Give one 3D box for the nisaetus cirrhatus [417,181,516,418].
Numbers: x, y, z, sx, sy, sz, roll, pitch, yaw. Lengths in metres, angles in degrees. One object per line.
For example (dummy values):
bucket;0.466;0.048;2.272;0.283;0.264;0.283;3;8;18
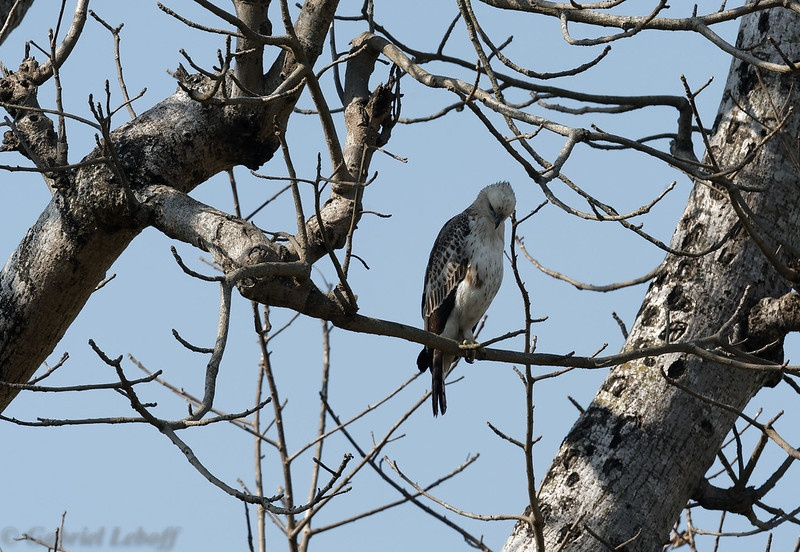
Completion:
nisaetus cirrhatus;0.440;0.131;11.774;0.913;1.455;0.442;-33;-45;31
